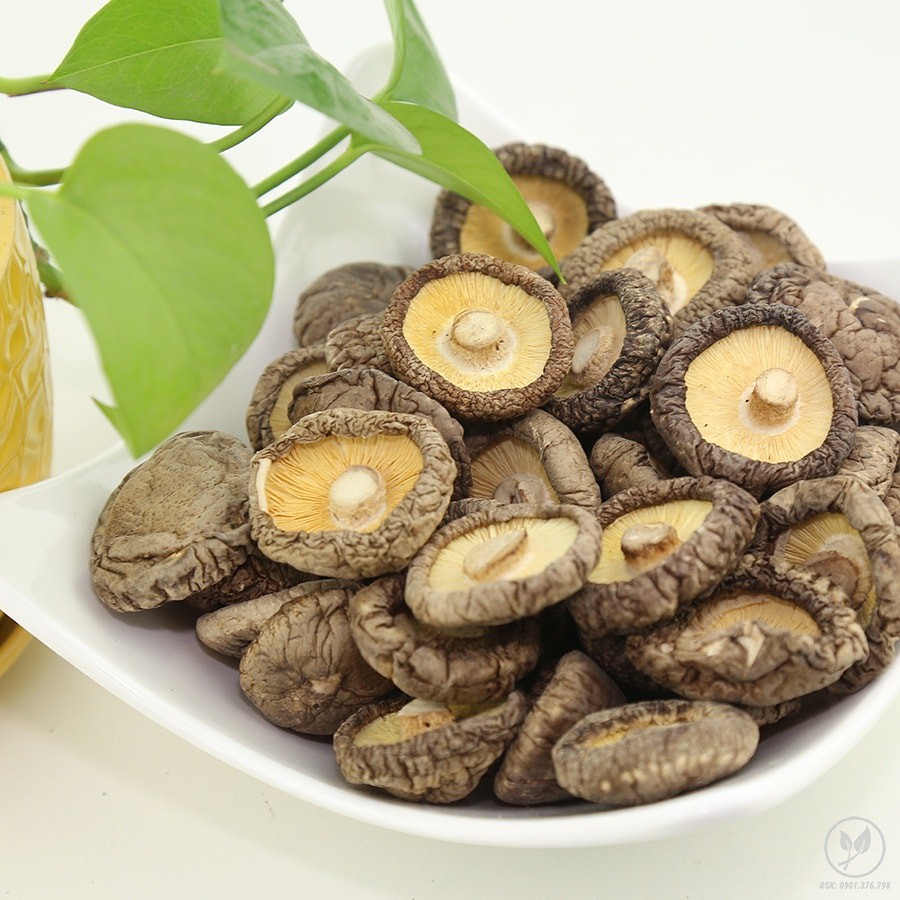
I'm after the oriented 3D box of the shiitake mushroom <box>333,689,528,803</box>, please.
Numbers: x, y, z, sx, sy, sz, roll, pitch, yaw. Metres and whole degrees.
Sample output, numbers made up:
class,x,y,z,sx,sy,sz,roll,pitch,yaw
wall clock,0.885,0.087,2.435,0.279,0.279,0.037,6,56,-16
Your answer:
class,x,y,z,sx,sy,sz,roll,pitch,yaw
shiitake mushroom,-0.036,0.447,1.636,0.254,0.088,0.230,-22,14,-41

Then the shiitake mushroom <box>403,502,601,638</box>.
class,x,y,z,sx,sy,sz,roll,pitch,yaw
shiitake mushroom,0.090,0.166,1.602,0.295,0.098,0.218,-22,39,9

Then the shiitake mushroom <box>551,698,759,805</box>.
class,x,y,z,sx,sy,sz,roll,pitch,yaw
shiitake mushroom,0.320,0.439,1.571,0.336,0.090,0.287,-15,-12,28

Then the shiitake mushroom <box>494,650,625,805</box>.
class,x,y,z,sx,sy,sz,roll,pitch,yaw
shiitake mushroom,0.149,0.405,1.575,0.108,0.219,0.231,33,34,2

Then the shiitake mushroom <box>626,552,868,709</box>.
class,x,y,z,sx,sy,sz,roll,pitch,yaw
shiitake mushroom,0.450,0.274,1.637,0.393,0.110,0.258,-2,21,22

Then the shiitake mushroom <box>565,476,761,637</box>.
class,x,y,z,sx,sy,sz,roll,pitch,yaw
shiitake mushroom,0.404,0.184,1.646,0.322,0.108,0.290,-19,15,37

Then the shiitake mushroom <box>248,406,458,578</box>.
class,x,y,z,sx,sy,sz,roll,pitch,yaw
shiitake mushroom,-0.123,0.100,1.752,0.384,0.135,0.292,-23,45,5
